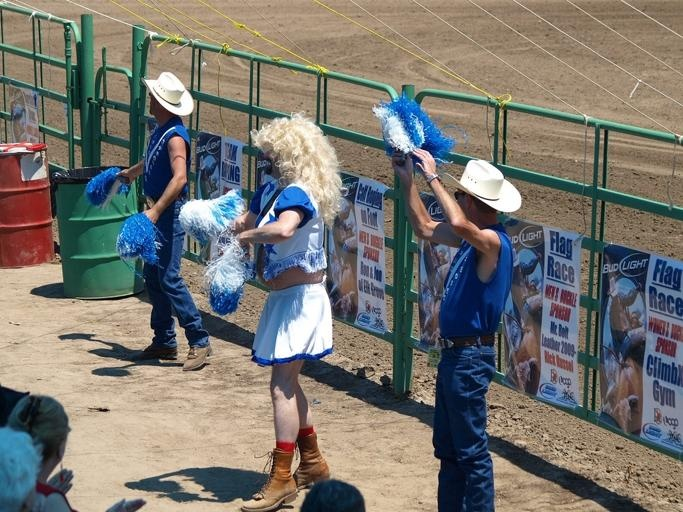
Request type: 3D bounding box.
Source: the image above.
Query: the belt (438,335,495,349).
[{"bbox_3d":[1.019,0.691,9.995,0.423,0.122,0.120,1,9,2],"label":"belt"}]

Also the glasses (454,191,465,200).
[{"bbox_3d":[0.964,-0.480,10.069,0.055,0.058,0.073,3,-5,-6],"label":"glasses"}]

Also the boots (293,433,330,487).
[{"bbox_3d":[-0.322,1.788,10.762,0.462,0.468,0.203,-11,-13,16],"label":"boots"}]

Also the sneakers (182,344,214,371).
[{"bbox_3d":[-1.444,1.045,12.622,0.149,0.194,0.377,-5,27,45],"label":"sneakers"}]

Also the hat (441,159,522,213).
[{"bbox_3d":[1.139,-0.562,10.075,0.698,0.284,0.726,8,12,-20],"label":"hat"}]

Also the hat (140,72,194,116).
[{"bbox_3d":[-1.655,-1.646,12.520,0.665,0.284,0.745,-1,1,-34],"label":"hat"}]

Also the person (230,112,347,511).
[{"bbox_3d":[-0.432,0.478,10.511,0.876,3.285,0.647,-1,9,-5],"label":"person"}]

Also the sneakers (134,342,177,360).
[{"bbox_3d":[-1.889,0.979,12.771,0.428,0.217,0.160,4,2,-6],"label":"sneakers"}]
